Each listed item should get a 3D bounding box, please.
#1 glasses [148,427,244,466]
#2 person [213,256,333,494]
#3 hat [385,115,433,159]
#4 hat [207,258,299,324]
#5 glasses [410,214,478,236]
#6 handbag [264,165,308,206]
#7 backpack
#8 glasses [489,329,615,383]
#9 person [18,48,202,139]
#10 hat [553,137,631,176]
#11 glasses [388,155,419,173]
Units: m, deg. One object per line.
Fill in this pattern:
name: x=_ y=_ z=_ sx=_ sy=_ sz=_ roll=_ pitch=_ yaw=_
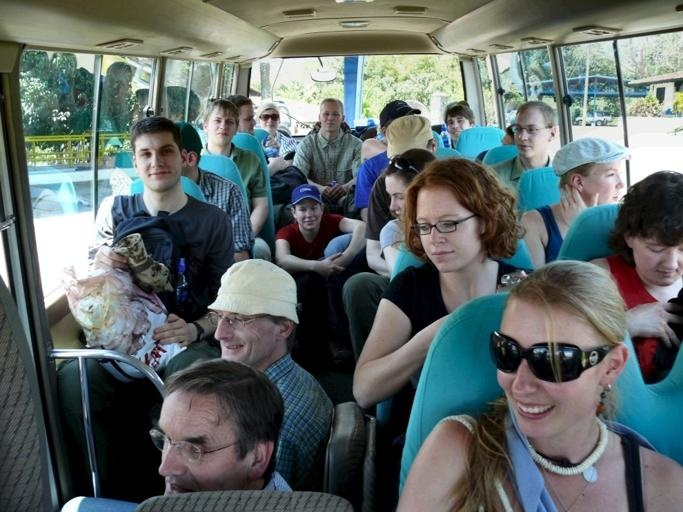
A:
glasses: x=-0.455 y=0.549 z=1.486 sx=0.130 sy=0.038 sz=0.133 roll=6 pitch=-2 yaw=33
person: x=-0.279 y=0.479 z=2.120 sx=0.472 sy=0.784 sz=0.815 roll=3 pitch=-20 yaw=-22
hat: x=0.568 y=-1.039 z=4.405 sx=0.349 sy=0.256 sz=0.511 roll=-1 pitch=19 yaw=13
hat: x=-0.372 y=0.157 z=2.269 sx=0.365 sy=0.208 sz=0.269 roll=5 pitch=-5 yaw=-32
glasses: x=0.426 y=-0.129 z=2.141 sx=0.245 sy=0.082 sz=0.078 roll=0 pitch=8 yaw=17
handbag: x=-0.604 y=-0.779 z=6.082 sx=0.464 sy=0.437 sz=0.192 roll=-25 pitch=-30 yaw=-11
backpack: x=-1.033 y=-0.005 z=2.855 sx=0.232 sy=0.509 sz=0.517 roll=-10 pitch=17 yaw=2
glasses: x=0.578 y=0.273 z=1.408 sx=0.316 sy=0.118 sz=0.092 roll=-1 pitch=8 yaw=12
person: x=-1.941 y=-1.186 z=3.701 sx=0.818 sy=0.288 sz=0.800 roll=22 pitch=19 yaw=23
hat: x=1.519 y=-0.633 z=3.168 sx=0.346 sy=0.121 sz=0.245 roll=-10 pitch=9 yaw=24
glasses: x=0.381 y=-0.536 z=3.183 sx=0.140 sy=0.040 sz=0.128 roll=25 pitch=1 yaw=-34
